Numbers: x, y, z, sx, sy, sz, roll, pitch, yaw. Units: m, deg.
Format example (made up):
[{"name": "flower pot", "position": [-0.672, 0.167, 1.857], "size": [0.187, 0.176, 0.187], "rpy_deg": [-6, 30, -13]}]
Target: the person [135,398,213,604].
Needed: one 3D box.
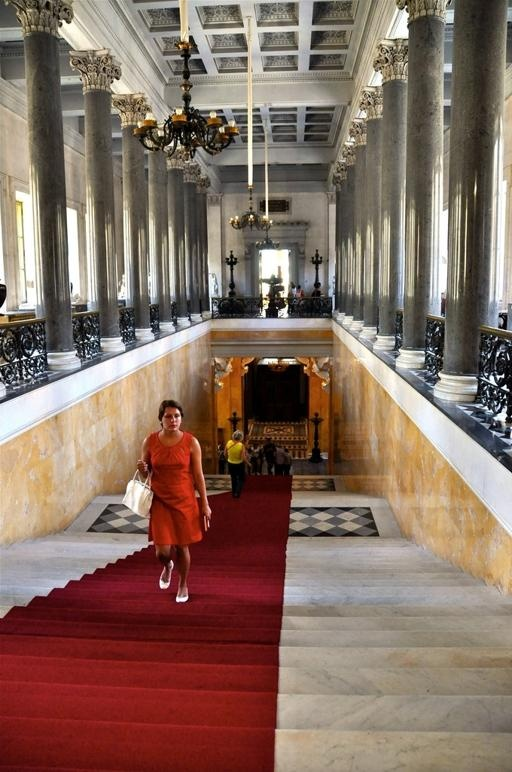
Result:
[{"name": "person", "position": [-0.512, 0.748, 3.342], "size": [0.424, 1.320, 0.467], "rpy_deg": [-2, 8, -8]}]

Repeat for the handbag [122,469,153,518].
[{"name": "handbag", "position": [-0.746, 0.692, 3.369], "size": [0.171, 0.365, 0.364], "rpy_deg": [-3, 9, -15]}]

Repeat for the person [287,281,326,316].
[{"name": "person", "position": [1.949, -2.972, 19.415], "size": [1.412, 1.010, 1.535], "rpy_deg": [4, 11, 15]}]
